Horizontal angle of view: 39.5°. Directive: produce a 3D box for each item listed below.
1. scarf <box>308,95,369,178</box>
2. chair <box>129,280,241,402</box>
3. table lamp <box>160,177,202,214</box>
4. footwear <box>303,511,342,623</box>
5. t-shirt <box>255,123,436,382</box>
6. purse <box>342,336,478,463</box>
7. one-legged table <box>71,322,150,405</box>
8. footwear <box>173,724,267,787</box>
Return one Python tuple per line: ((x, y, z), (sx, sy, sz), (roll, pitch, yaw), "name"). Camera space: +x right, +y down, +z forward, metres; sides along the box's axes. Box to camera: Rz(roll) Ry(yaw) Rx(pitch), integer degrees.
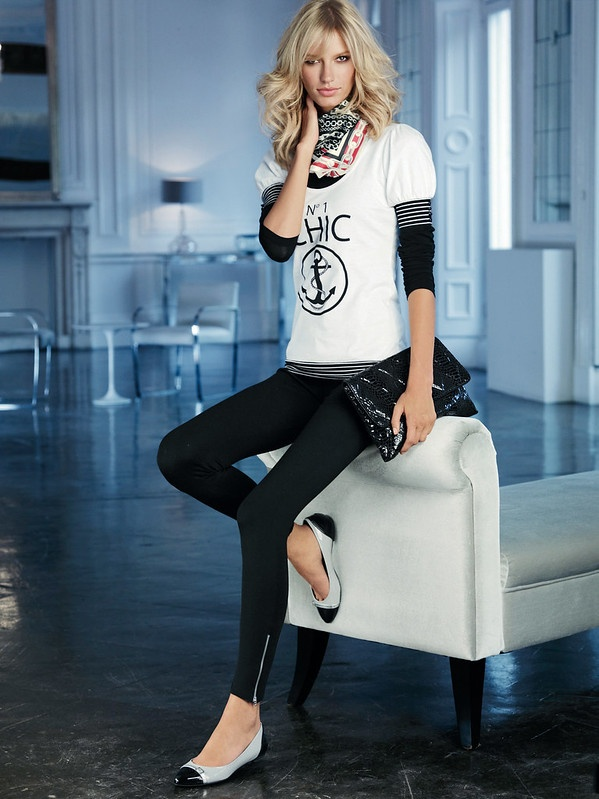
((0.070, -0.469, 1.533), (0.128, 0.131, 0.045), (7, -8, 28), "scarf")
((-0.905, -0.483, 6.708), (0.822, 0.865, 0.805), (-10, 17, -37), "chair")
((-1.360, -2.330, 9.462), (0.397, 0.344, 0.338), (-2, 6, -21), "table lamp")
((0.062, 0.319, 1.593), (0.075, 0.188, 0.090), (2, 15, 35), "footwear")
((0.101, -0.275, 1.538), (0.298, 0.463, 0.169), (1, 7, 18), "t-shirt")
((0.204, 0.002, 1.485), (0.306, 0.217, 0.143), (-6, 8, -42), "purse")
((-1.413, -0.208, 6.239), (0.580, 0.456, 0.509), (-1, 4, 3), "one-legged table")
((-0.134, 0.601, 1.431), (0.170, 0.059, 0.059), (-3, 1, -37), "footwear")
